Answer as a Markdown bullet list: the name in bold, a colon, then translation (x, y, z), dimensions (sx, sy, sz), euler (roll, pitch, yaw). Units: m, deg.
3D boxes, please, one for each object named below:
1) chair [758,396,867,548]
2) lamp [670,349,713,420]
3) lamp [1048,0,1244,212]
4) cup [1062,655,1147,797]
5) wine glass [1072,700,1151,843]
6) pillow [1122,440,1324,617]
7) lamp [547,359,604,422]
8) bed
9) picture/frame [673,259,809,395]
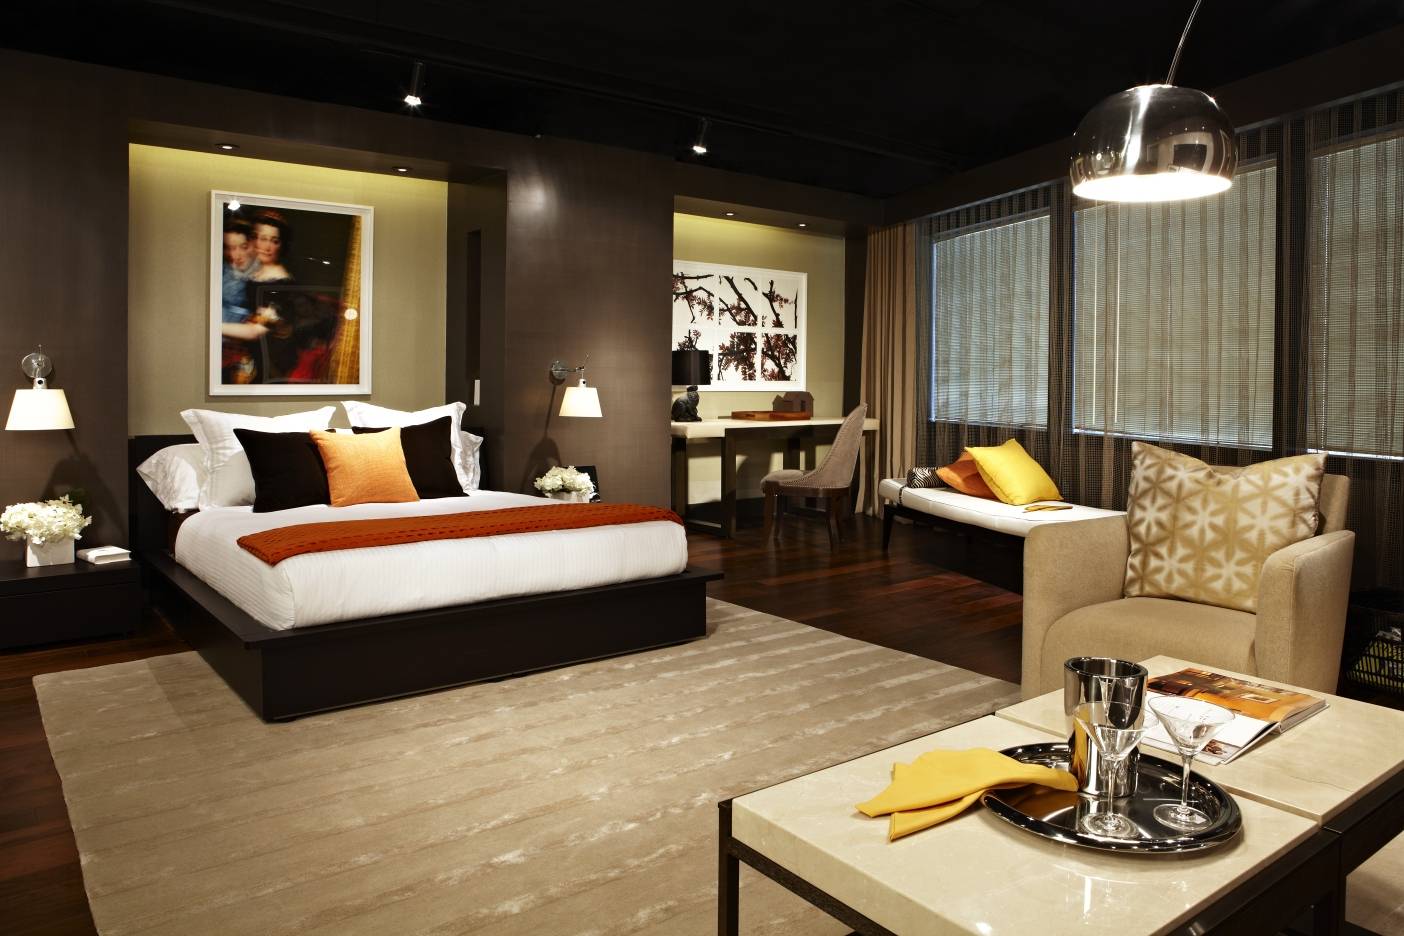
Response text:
- **chair**: translation (0.917, 0.011, 7.478), dimensions (0.852, 0.961, 0.714), euler (1, 5, 23)
- **lamp**: translation (-0.119, -0.757, 8.256), dimensions (0.433, 0.618, 0.406), euler (1, 3, -6)
- **lamp**: translation (1.489, -1.088, 2.941), dimensions (0.471, 0.348, 0.599), euler (7, 14, 26)
- **cup**: translation (0.996, 0.652, 2.230), dimensions (0.200, 0.290, 0.247), euler (-2, -11, 30)
- **wine glass**: translation (0.997, 0.754, 2.189), dimensions (0.168, 0.279, 0.186), euler (0, -11, 34)
- **pillow**: translation (2.138, 0.272, 3.684), dimensions (0.780, 0.398, 0.691), euler (-1, 48, 41)
- **lamp**: translation (-0.920, -0.573, 6.574), dimensions (0.381, 0.417, 0.449), euler (4, -5, -43)
- **bed**: translation (-1.736, 0.318, 5.164), dimensions (3.012, 0.974, 2.941), euler (0, 9, -28)
- **picture/frame**: translation (0.376, -1.338, 8.566), dimensions (0.016, 1.109, 1.649), euler (-20, 23, -39)
